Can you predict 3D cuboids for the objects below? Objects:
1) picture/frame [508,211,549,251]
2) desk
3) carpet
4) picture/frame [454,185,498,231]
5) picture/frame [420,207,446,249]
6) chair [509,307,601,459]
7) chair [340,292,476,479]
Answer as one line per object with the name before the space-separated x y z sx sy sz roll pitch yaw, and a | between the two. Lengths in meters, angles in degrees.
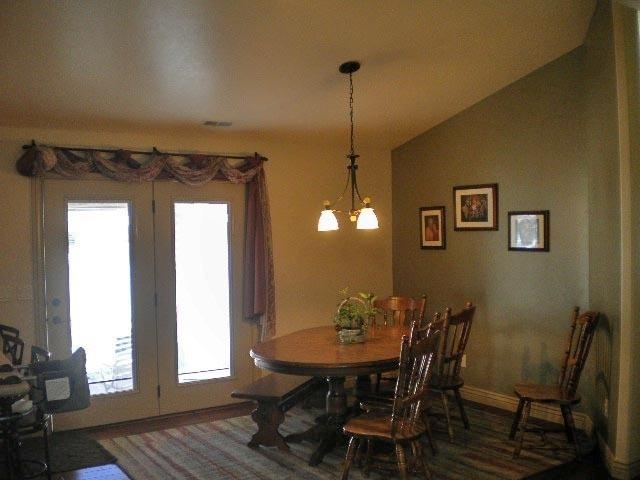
picture/frame | 2.096 -0.093 5.381 0.392 0.403 0.029 -2 0 42
desk | 0.163 1.401 4.815 1.048 0.862 1.516 -6 -2 11
carpet | -2.290 1.892 4.824 0.596 0.042 0.964 -7 8 -42
picture/frame | 1.699 -0.352 5.813 0.032 0.496 0.489 -4 4 -38
picture/frame | 1.318 -0.140 6.271 0.058 0.506 0.385 -6 8 -36
chair | 2.083 1.203 4.790 0.704 1.237 1.008 2 7 29
chair | 0.782 1.319 4.717 0.558 1.112 1.430 1 -1 22
